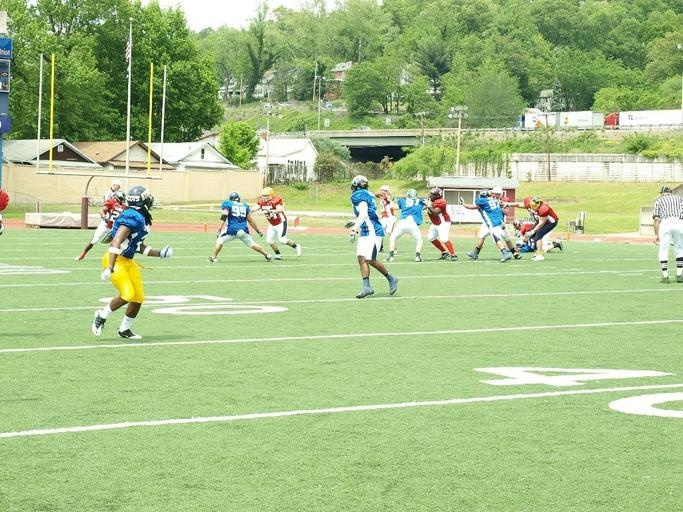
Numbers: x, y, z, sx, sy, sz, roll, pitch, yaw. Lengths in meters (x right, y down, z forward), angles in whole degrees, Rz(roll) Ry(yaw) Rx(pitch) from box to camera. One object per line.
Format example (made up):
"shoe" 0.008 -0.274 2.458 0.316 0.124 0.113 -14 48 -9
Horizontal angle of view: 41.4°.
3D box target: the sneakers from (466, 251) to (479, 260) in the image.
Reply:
"sneakers" 3.364 -0.021 22.994 0.164 0.195 0.462 2 6 -1

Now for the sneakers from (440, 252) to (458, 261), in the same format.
"sneakers" 2.802 -0.006 23.152 0.174 0.217 0.502 -3 8 -45

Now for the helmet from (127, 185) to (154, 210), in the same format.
"helmet" -2.445 -0.739 10.969 0.344 0.257 0.256 -15 27 -41

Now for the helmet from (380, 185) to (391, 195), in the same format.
"helmet" 1.070 -1.575 21.406 0.247 0.207 0.184 -8 22 -9

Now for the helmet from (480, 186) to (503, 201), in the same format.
"helmet" 3.804 -1.568 22.568 0.530 0.509 0.406 4 6 -14

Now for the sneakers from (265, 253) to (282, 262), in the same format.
"sneakers" -1.696 0.013 22.787 0.408 0.169 0.136 2 -1 -6

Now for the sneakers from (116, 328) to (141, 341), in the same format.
"sneakers" -2.593 0.945 11.080 0.321 0.113 0.113 2 10 3

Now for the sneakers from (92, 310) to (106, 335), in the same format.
"sneakers" -2.908 0.796 10.910 0.172 0.362 0.132 -2 0 23

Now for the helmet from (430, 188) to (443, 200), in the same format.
"helmet" 2.276 -1.548 22.228 0.333 0.272 0.289 17 15 19

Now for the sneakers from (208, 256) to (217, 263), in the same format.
"sneakers" -3.092 0.068 21.749 0.187 0.188 0.437 1 0 -14

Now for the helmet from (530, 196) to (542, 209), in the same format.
"helmet" 4.872 -1.348 22.476 0.263 0.321 0.592 -2 2 13

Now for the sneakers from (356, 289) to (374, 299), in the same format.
"sneakers" 0.348 0.607 14.906 0.338 0.163 0.124 -6 -4 36

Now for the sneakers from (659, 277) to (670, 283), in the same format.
"sneakers" 6.313 0.438 17.590 0.099 0.102 0.280 0 7 7

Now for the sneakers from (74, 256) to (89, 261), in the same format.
"sneakers" -6.182 0.036 21.330 0.175 0.129 0.274 4 -3 -2

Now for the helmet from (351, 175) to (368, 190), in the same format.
"helmet" 0.326 -1.207 14.724 0.220 0.220 0.259 -5 18 -26

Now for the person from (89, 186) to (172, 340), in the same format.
"person" -2.641 0.065 11.211 0.955 1.855 1.339 -3 2 -13
